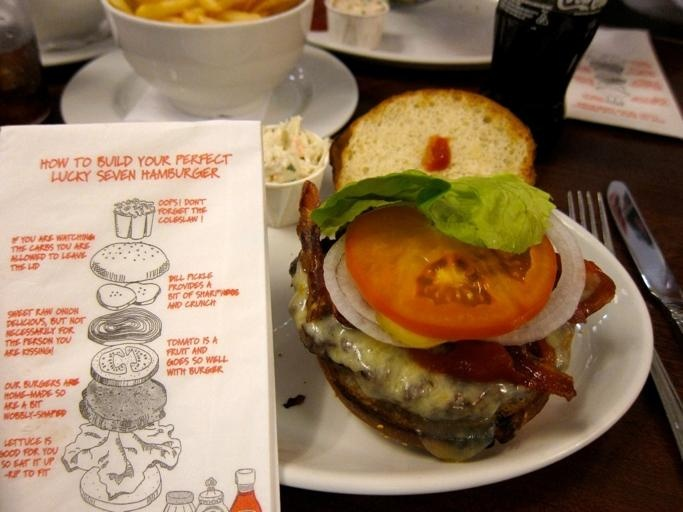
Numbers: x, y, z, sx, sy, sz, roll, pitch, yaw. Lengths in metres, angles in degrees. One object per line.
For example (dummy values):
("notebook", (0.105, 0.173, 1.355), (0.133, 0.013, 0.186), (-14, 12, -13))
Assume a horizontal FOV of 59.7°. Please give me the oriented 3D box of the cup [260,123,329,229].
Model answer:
("cup", (-0.158, -0.256, 1.894), (0.282, 0.221, 0.281), (4, 47, -4))
